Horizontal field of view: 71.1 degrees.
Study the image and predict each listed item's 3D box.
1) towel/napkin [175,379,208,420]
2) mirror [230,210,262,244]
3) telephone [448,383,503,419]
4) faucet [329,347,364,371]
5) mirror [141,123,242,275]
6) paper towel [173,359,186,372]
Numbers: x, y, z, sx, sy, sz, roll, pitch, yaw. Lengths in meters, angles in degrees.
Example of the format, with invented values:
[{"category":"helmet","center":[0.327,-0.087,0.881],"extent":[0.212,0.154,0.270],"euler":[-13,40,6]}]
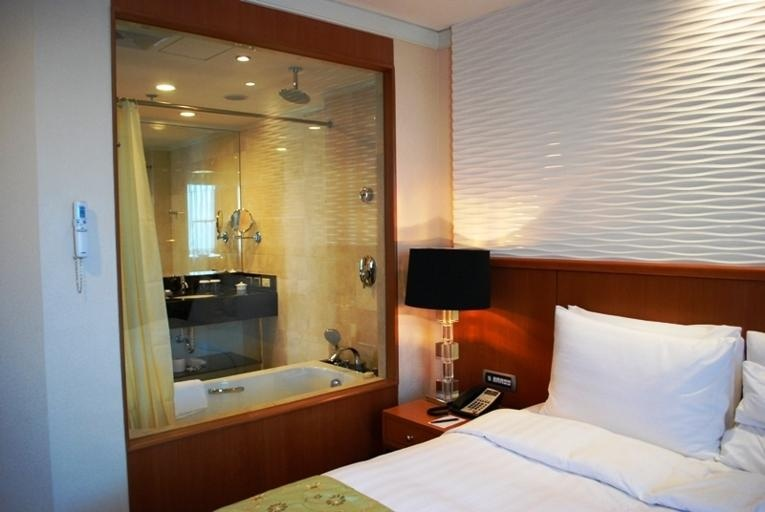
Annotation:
[{"category":"towel/napkin","center":[-1.129,0.830,3.154],"extent":[0.185,0.204,0.022],"euler":[-7,5,-35]},{"category":"mirror","center":[-0.847,-0.185,3.310],"extent":[0.197,0.151,0.064],"euler":[25,-20,-35]},{"category":"telephone","center":[0.632,0.955,3.531],"extent":[0.301,0.096,0.228],"euler":[-16,12,-34]},{"category":"faucet","center":[-0.240,0.712,3.719],"extent":[0.228,0.203,0.127],"euler":[4,-4,-33]},{"category":"mirror","center":[-1.087,-0.333,3.177],"extent":[0.524,0.860,0.072],"euler":[-7,5,-38]},{"category":"paper towel","center":[-1.183,0.634,3.126],"extent":[0.071,0.049,0.069],"euler":[3,0,0]}]
